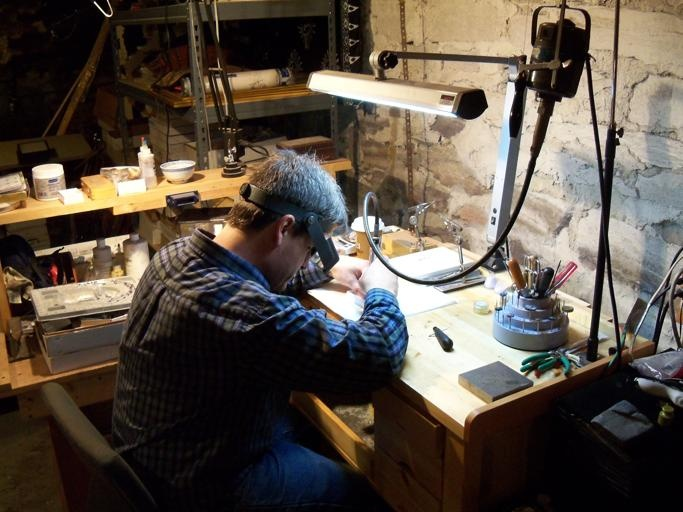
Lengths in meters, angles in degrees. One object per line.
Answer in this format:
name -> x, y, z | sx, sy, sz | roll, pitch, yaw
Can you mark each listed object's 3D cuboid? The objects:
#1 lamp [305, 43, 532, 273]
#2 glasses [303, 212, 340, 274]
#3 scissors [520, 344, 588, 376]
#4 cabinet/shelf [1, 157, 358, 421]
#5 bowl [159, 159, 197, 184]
lamp -> 0.346, -0.267, 1.795 | 0.731, 0.814, 0.880 | -6, 23, -14
glasses -> -0.059, -0.040, 1.533 | 0.048, 0.146, 0.104 | -27, 8, -8
scissors -> 0.603, 0.286, 1.502 | 0.140, 0.064, 0.139 | -7, 15, -22
cabinet/shelf -> -1.170, 0.292, 2.768 | 1.493, 1.495, 0.919 | -13, 25, -28
bowl -> -0.747, -0.386, 2.351 | 0.121, 0.071, 0.123 | -5, 14, 1
